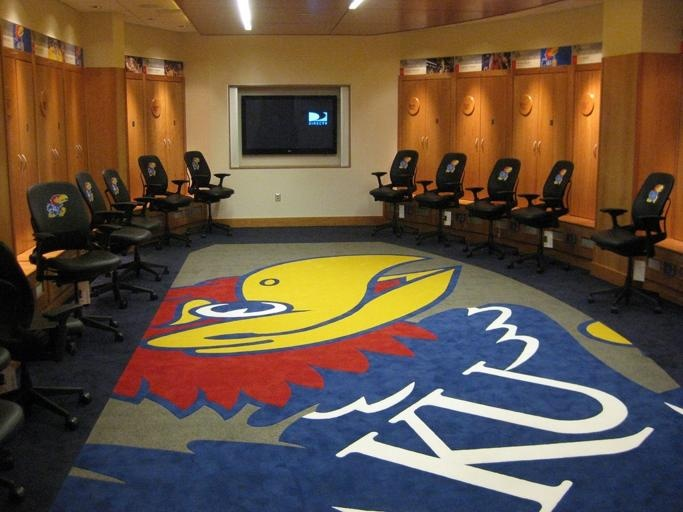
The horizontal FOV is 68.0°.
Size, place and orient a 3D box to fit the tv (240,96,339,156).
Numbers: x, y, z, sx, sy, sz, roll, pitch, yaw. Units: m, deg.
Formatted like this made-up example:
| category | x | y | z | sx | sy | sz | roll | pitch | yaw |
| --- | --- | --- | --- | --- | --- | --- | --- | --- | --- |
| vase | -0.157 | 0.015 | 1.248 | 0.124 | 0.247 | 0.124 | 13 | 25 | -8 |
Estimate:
| category | x | y | z | sx | sy | sz | roll | pitch | yaw |
| --- | --- | --- | --- | --- | --- | --- | --- | --- | --- |
| tv | -1.167 | -2.736 | 10.447 | 1.700 | 0.726 | 0.115 | 0 | 10 | -3 |
